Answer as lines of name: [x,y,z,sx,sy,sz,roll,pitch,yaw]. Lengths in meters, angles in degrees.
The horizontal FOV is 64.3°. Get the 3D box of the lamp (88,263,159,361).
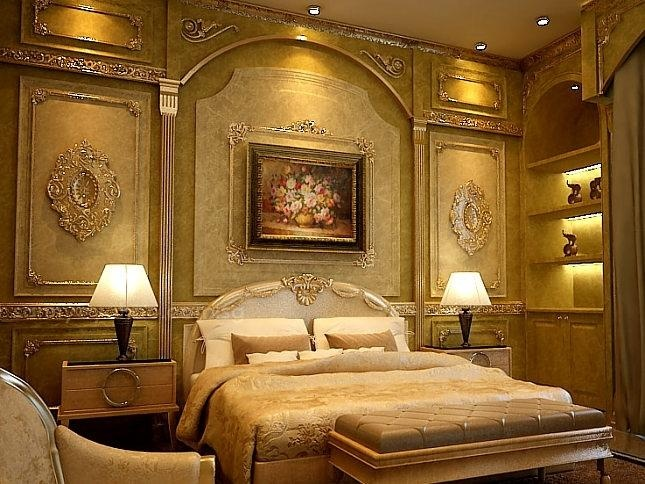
lamp: [-1.572,0.552,4.154,0.464,0.774,0.376,-1,-4,3]

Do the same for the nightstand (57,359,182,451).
nightstand: [-1.571,1.227,3.906,0.902,0.773,0.358,2,-8,-19]

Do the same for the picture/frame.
picture/frame: [-0.210,-0.419,5.051,1.068,0.877,0.057,2,-7,-20]

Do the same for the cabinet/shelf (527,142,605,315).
cabinet/shelf: [2.839,-0.394,5.686,0.381,1.167,1.227,1,-1,-19]

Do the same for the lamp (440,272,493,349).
lamp: [1.512,0.730,5.342,0.531,0.776,0.549,4,-12,-3]

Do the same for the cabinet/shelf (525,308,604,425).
cabinet/shelf: [2.775,1.269,5.595,0.416,1.034,1.092,4,-7,-20]
